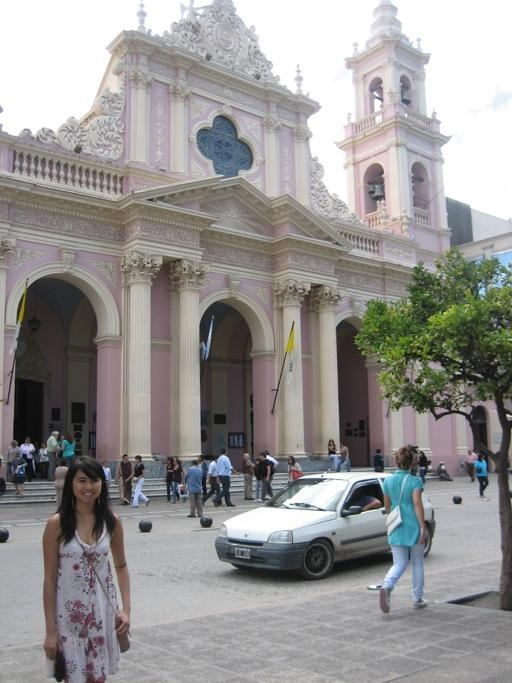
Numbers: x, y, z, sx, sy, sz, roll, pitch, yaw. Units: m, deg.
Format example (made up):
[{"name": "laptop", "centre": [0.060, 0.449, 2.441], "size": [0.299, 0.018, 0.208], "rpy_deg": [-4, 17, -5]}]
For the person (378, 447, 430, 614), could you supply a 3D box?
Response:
[{"name": "person", "centre": [1.490, 1.900, 7.200], "size": [0.472, 1.602, 1.127], "rpy_deg": [-4, -8, 13]}]

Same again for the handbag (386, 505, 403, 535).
[{"name": "handbag", "centre": [1.425, 1.818, 7.216], "size": [0.059, 0.221, 0.306], "rpy_deg": [22, -36, -7]}]

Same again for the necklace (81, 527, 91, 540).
[{"name": "necklace", "centre": [-0.827, 0.930, 3.409], "size": [0.053, 0.050, 0.013], "rpy_deg": [-4, -7, 1]}]

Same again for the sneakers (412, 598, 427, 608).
[{"name": "sneakers", "centre": [1.639, 2.610, 7.001], "size": [0.148, 0.078, 0.120], "rpy_deg": [-2, -8, -6]}]

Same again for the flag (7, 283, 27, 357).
[{"name": "flag", "centre": [-7.536, -0.604, 22.364], "size": [0.463, 2.269, 3.541], "rpy_deg": [0, -9, -19]}]

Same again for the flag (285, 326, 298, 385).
[{"name": "flag", "centre": [1.397, 0.463, 27.930], "size": [0.451, 2.380, 1.285], "rpy_deg": [-3, -8, 3]}]
